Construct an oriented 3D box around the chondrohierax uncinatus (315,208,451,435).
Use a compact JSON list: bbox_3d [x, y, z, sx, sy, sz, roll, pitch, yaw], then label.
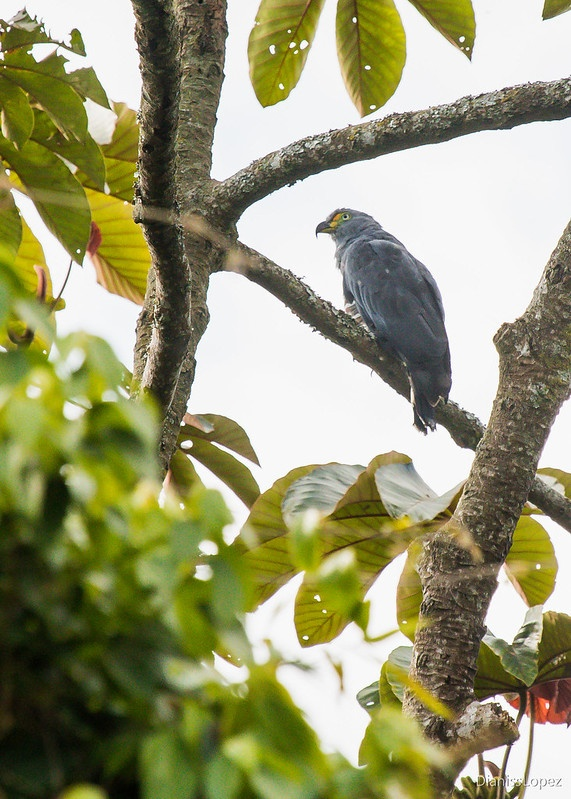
[{"bbox_3d":[0.353,-0.261,4.814,0.472,0.883,0.280,-26,-52,29],"label":"chondrohierax uncinatus"}]
